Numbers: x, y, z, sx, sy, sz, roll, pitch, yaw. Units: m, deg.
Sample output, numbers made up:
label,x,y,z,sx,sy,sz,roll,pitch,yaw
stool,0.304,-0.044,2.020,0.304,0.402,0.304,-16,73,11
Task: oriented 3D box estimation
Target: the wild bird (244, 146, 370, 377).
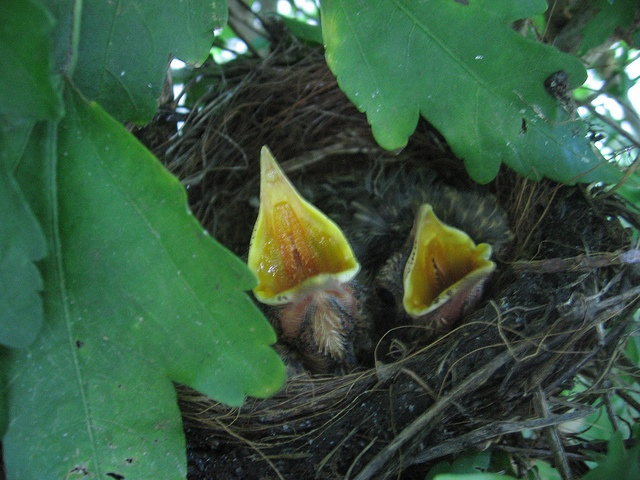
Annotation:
label,x,y,z,sx,sy,sz,roll,pitch,yaw
wild bird,-0.035,0.065,1.649,0.234,0.497,0.181,-19,19,-8
